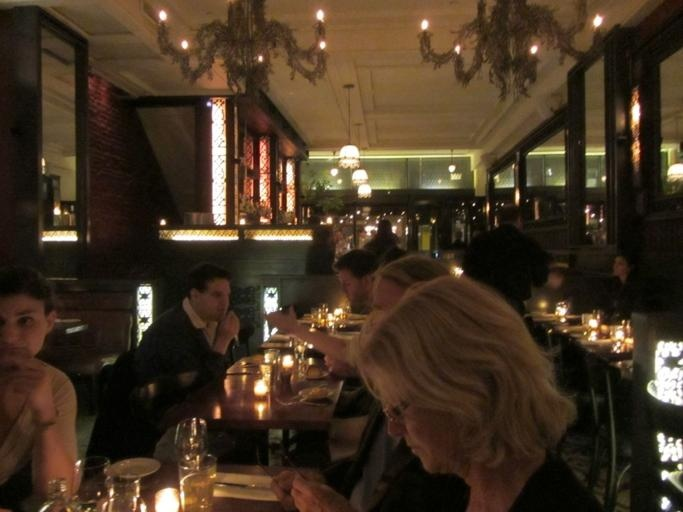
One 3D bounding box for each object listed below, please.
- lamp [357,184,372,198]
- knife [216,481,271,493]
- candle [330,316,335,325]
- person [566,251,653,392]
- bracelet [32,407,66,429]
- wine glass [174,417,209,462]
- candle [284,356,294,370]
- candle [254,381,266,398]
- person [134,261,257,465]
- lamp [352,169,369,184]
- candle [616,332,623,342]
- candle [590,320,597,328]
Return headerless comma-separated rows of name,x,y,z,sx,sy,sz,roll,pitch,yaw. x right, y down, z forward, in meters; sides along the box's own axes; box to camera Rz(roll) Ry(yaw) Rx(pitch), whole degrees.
lamp,0.473,-1.332,13.999,0.321,0.305,0.337,6,13,19
knife,-0.495,1.148,3.245,0.266,0.027,0.039,0,-1,2
candle,-0.089,0.614,6.204,0.044,0.055,0.046,2,4,11
person,3.195,0.586,7.526,0.646,1.209,1.187,-9,19,-30
bracelet,-1.523,0.826,3.326,0.086,0.070,0.089,2,4,-12
wine glass,-0.792,0.955,3.406,0.192,0.293,0.204,2,-10,-6
candle,-0.358,0.729,4.404,0.070,0.072,0.073,-2,-5,-1
candle,-0.529,0.863,4.211,0.072,0.076,0.075,1,-11,-14
person,-1.004,0.842,4.798,0.833,1.588,0.652,4,23,5
lamp,0.391,-1.609,13.305,0.326,0.265,0.338,0,-3,-7
candle,2.377,0.679,5.511,0.059,0.064,0.043,-1,-1,16
candle,2.423,0.653,6.214,0.059,0.064,0.015,4,-21,-12
